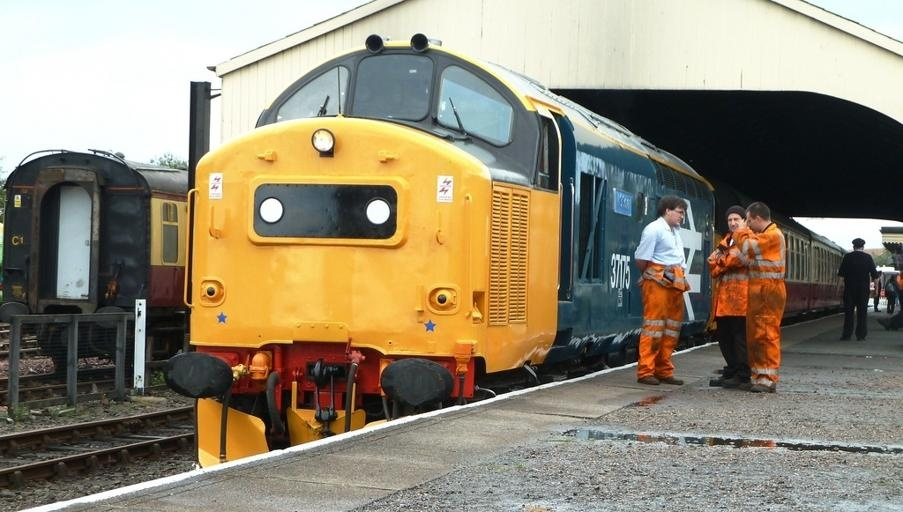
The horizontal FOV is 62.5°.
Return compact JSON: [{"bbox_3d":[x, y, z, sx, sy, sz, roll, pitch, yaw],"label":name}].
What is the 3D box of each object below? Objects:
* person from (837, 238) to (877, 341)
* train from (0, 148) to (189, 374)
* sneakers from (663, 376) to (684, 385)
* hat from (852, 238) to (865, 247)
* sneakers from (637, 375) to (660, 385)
[{"bbox_3d":[12.066,0.949,22.015,1.104,2.983,0.955,2,9,40],"label":"person"},{"bbox_3d":[-8.561,0.039,17.907,3.970,5.088,1.541,-1,-3,-10],"label":"train"},{"bbox_3d":[3.749,2.125,12.636,0.355,0.148,0.125,-2,-2,14],"label":"sneakers"},{"bbox_3d":[9.304,-0.303,17.009,0.296,0.130,0.419,0,-8,6],"label":"hat"},{"bbox_3d":[3.259,2.050,12.312,0.288,0.125,0.155,-3,-1,24],"label":"sneakers"}]
